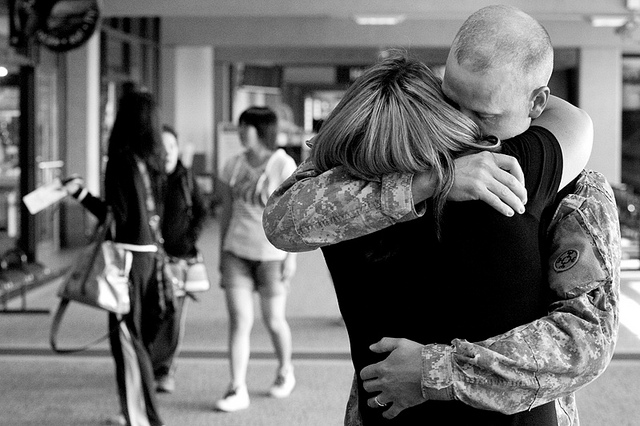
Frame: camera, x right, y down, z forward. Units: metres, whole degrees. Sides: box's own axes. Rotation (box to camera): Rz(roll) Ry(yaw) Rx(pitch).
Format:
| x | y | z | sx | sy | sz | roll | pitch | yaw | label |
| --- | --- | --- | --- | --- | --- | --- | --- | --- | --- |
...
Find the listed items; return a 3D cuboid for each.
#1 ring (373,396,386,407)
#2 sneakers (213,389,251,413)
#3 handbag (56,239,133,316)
| x | y | z | sx | sy | sz | roll | pitch | yaw | label |
| --- | --- | --- | --- | --- | --- | --- | --- | --- | --- |
| 0.203 | 0.639 | 2.773 | 0.038 | 0.043 | 0.034 | -9 | -15 | 8 | ring |
| -0.509 | 1.100 | 4.842 | 0.207 | 0.146 | 0.093 | 8 | -13 | -21 | sneakers |
| -1.190 | 0.353 | 4.381 | 0.378 | 0.385 | 0.170 | 11 | -7 | -1 | handbag |
